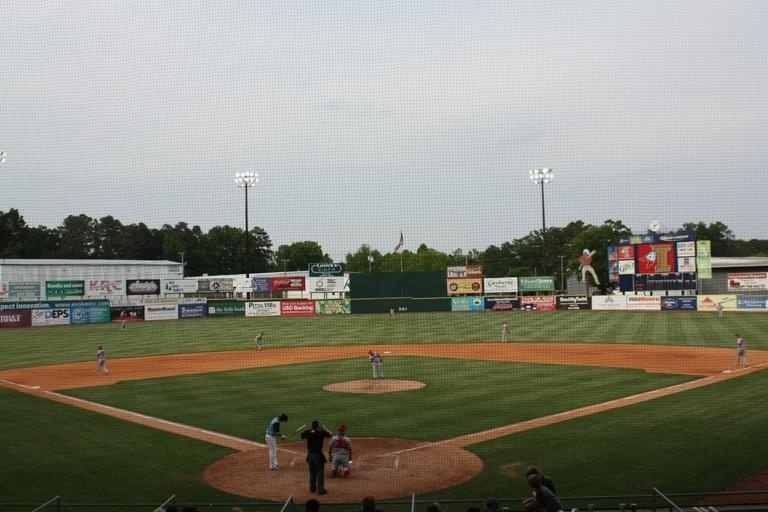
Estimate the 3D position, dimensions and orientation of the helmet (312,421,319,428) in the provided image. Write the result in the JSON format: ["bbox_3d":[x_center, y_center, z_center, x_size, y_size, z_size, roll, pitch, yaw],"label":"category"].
[{"bbox_3d":[-3.063,7.547,53.372,0.246,0.368,0.357,4,7,8],"label":"helmet"}]

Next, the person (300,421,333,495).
[{"bbox_3d":[-2.961,8.990,53.346,1.049,3.138,1.338,-2,12,-3],"label":"person"}]

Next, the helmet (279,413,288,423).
[{"bbox_3d":[-4.543,7.473,54.769,0.384,0.433,0.447,5,6,39],"label":"helmet"}]

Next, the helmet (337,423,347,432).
[{"bbox_3d":[-1.843,7.841,54.145,0.442,0.277,0.565,1,-4,14],"label":"helmet"}]
